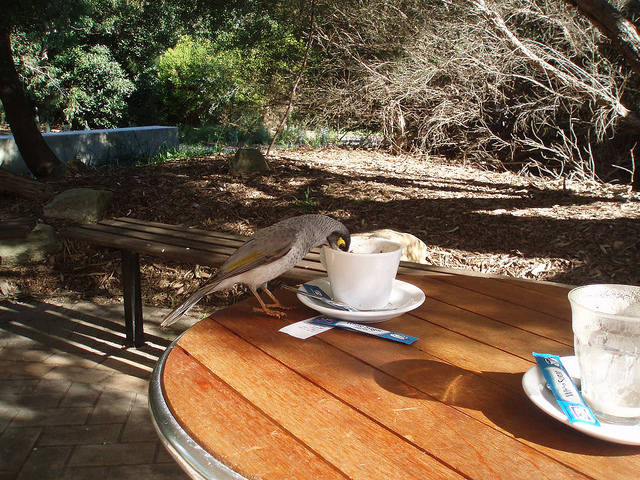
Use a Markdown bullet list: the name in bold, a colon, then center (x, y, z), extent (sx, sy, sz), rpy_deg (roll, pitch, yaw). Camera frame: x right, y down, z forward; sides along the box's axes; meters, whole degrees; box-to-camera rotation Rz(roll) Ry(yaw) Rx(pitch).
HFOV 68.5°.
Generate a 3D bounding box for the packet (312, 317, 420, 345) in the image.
- **packet**: center (0.128, 0.269, 1.404), extent (0.322, 0.034, 0.057), rpy_deg (5, 16, 25)

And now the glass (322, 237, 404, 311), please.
- **glass**: center (0.126, 0.096, 1.537), extent (0.318, 0.150, 0.284), rpy_deg (6, 10, 42)
